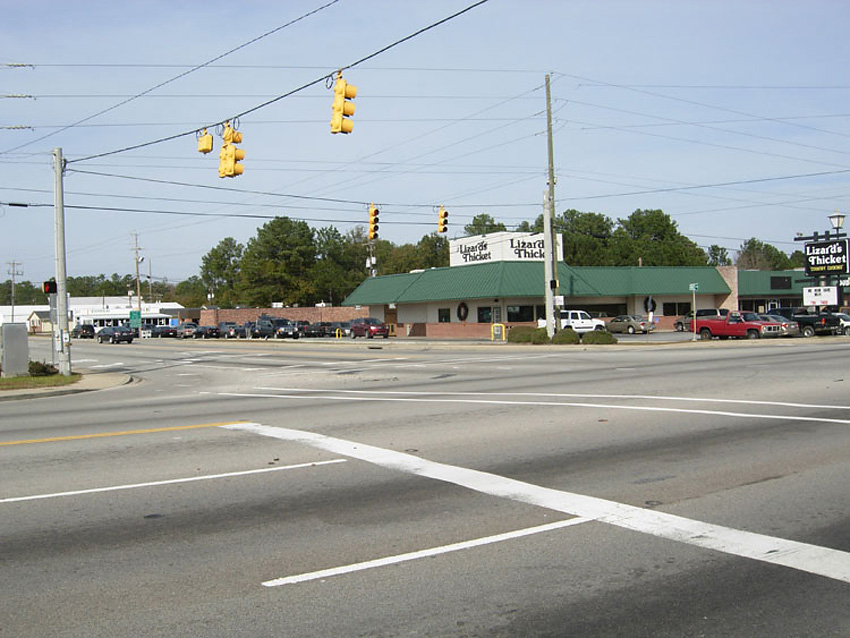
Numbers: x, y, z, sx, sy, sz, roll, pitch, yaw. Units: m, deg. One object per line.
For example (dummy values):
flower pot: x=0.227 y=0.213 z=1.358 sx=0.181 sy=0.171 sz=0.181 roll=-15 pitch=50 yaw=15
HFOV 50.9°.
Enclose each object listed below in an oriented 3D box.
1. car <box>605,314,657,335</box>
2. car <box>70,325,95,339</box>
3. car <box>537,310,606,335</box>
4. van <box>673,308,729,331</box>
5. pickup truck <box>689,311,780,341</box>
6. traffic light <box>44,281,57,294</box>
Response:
car: x=14.151 y=0.394 z=61.373 sx=1.461 sy=1.194 sz=3.179 roll=-5 pitch=5 yaw=-33
car: x=-33.605 y=1.320 z=88.189 sx=1.762 sy=1.523 sz=3.157 roll=-3 pitch=8 yaw=-38
car: x=9.359 y=0.563 z=55.568 sx=3.464 sy=1.748 sz=1.989 roll=-3 pitch=3 yaw=-1
van: x=19.328 y=-0.133 z=63.209 sx=3.456 sy=1.435 sz=1.961 roll=3 pitch=3 yaw=37
pickup truck: x=16.869 y=0.373 z=47.697 sx=1.325 sy=1.549 sz=4.794 roll=-5 pitch=5 yaw=-32
traffic light: x=-14.293 y=-1.250 z=33.865 sx=0.442 sy=0.540 sz=0.636 roll=-4 pitch=5 yaw=-28
